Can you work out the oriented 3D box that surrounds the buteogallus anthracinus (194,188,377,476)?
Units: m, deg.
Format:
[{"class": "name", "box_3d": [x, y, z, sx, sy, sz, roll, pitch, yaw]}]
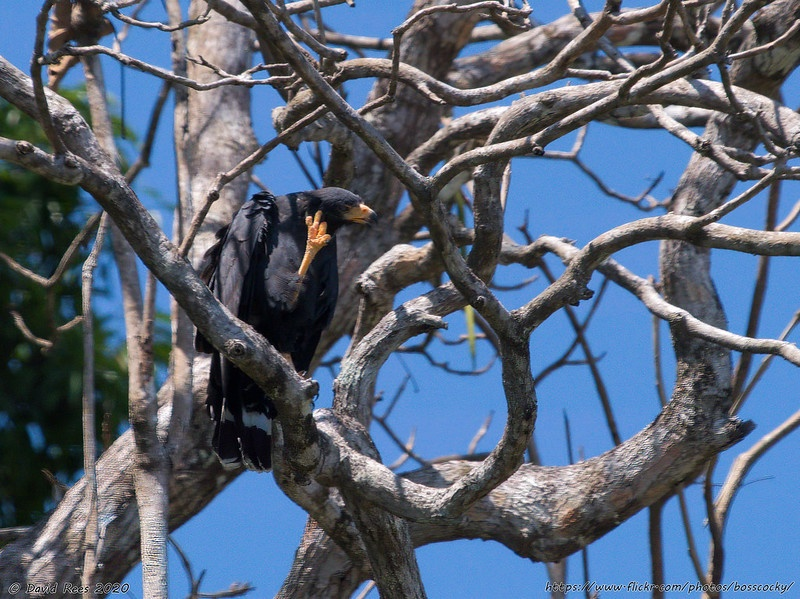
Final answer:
[{"class": "buteogallus anthracinus", "box_3d": [-0.789, 0.084, 10.417, 1.059, 1.473, 1.652, -3, -73, -25]}]
